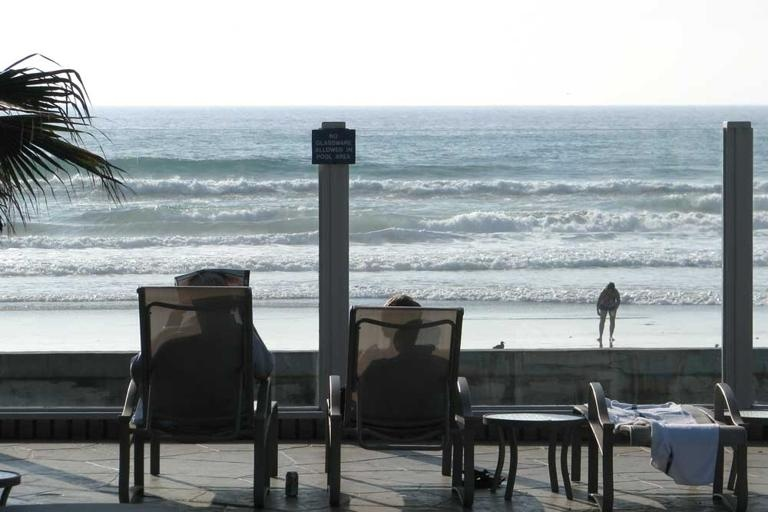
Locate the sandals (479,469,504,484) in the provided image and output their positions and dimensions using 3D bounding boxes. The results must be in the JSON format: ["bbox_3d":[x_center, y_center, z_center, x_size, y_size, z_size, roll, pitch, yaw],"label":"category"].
[{"bbox_3d":[1.042,2.165,13.291,0.190,0.061,0.173,6,-2,-8],"label":"sandals"}]

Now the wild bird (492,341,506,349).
[{"bbox_3d":[1.259,0.996,14.735,0.110,0.065,0.062,-2,5,0],"label":"wild bird"}]

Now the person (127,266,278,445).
[{"bbox_3d":[-1.724,0.875,12.874,1.287,0.988,1.618,2,14,2],"label":"person"}]

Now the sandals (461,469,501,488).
[{"bbox_3d":[0.921,2.164,13.042,0.279,0.101,0.352,1,1,7],"label":"sandals"}]

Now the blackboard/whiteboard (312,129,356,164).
[{"bbox_3d":[-0.548,-1.135,14.328,0.412,0.303,0.131,0,3,0],"label":"blackboard/whiteboard"}]
